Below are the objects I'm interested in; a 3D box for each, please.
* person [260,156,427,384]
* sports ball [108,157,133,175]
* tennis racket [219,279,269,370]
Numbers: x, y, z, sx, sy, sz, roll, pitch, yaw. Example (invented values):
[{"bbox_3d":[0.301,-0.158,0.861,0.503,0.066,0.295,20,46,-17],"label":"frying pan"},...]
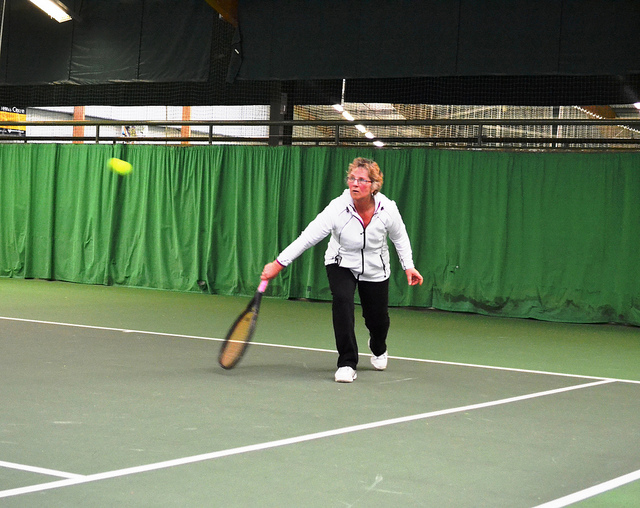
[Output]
[{"bbox_3d":[0.271,0.122,5.266,1.051,1.741,0.458,1,5,-9],"label":"person"},{"bbox_3d":[-3.284,-1.435,10.893,0.408,0.226,0.222,23,-41,-5],"label":"sports ball"},{"bbox_3d":[-0.616,0.564,5.177,0.313,0.791,0.497,-2,6,-39],"label":"tennis racket"}]
